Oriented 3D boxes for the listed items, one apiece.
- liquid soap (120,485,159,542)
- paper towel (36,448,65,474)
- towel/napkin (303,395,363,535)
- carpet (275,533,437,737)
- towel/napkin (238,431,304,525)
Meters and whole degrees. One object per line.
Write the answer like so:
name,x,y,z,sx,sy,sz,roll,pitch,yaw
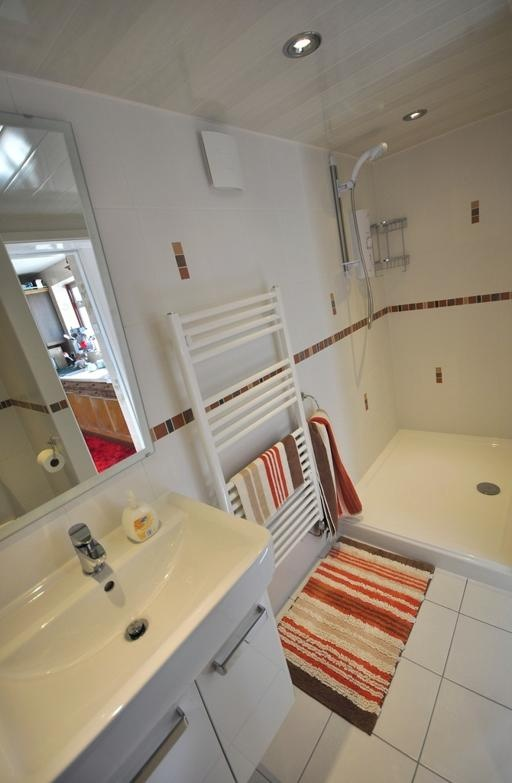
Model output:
liquid soap,-0.298,0.323,1.235,0.088,0.156,0.101,0,40,-5
paper towel,-0.478,0.171,1.157,0.051,0.057,0.061,-10,16,-33
towel/napkin,0.325,0.373,2.233,0.159,0.770,0.326,2,37,25
carpet,0.349,1.000,1.937,0.472,0.992,0.012,18,23,15
towel/napkin,0.037,0.332,1.730,0.044,0.215,0.325,2,32,34
